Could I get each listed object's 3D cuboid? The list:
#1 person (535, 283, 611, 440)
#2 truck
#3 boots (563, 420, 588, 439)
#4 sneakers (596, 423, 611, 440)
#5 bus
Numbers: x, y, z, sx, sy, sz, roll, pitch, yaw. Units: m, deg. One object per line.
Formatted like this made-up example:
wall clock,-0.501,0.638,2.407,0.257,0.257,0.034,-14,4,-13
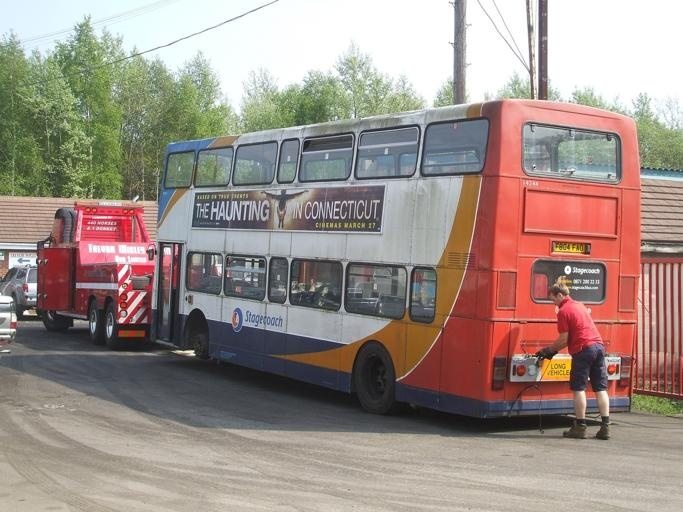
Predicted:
person,3.705,1.621,10.228,1.102,2.419,0.303,1,0,-11
truck,-7.418,0.510,21.647,3.599,3.637,5.901,3,2,-36
boots,3.689,2.711,10.217,0.187,0.281,0.401,1,3,-29
sneakers,4.091,2.738,10.212,0.128,0.298,0.280,1,0,-8
bus,-0.182,0.034,15.131,4.571,5.713,12.472,2,1,-35
